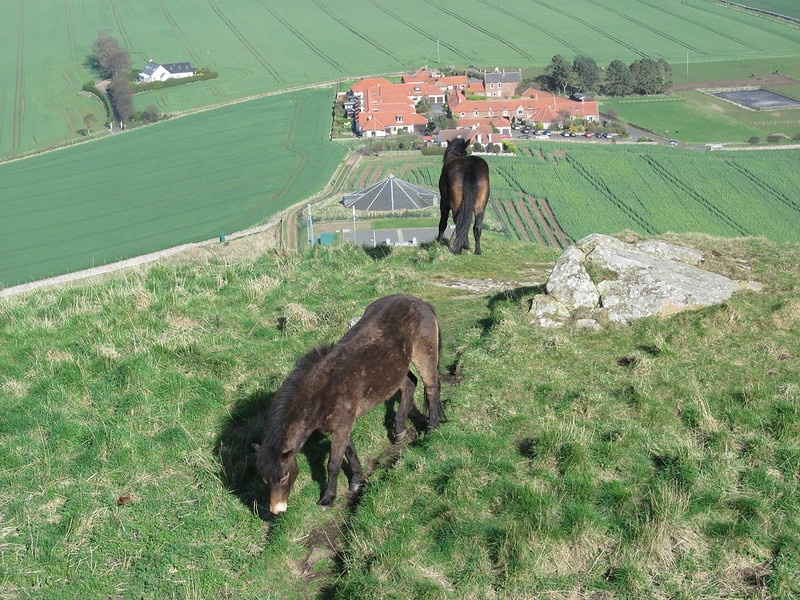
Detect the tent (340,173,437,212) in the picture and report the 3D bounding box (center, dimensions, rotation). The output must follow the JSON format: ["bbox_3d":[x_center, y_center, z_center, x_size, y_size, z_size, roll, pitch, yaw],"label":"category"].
[{"bbox_3d":[-0.851,-8.469,62.183,4.557,1.294,4.935,-6,31,-9],"label":"tent"}]

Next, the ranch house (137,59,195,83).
[{"bbox_3d":[-38.338,-38.013,130.750,7.057,2.619,5.075,-13,25,-28],"label":"ranch house"}]
